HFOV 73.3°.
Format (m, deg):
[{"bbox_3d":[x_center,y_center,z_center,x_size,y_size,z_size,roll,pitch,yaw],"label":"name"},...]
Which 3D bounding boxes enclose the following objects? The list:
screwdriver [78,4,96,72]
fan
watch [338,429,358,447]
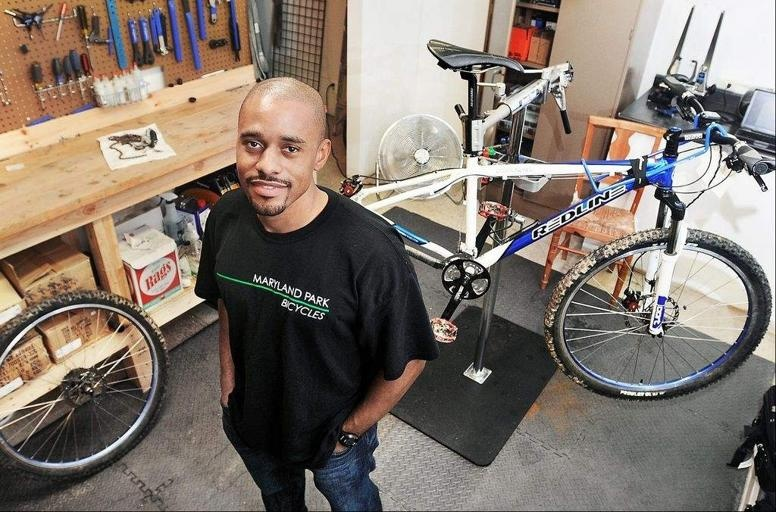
[{"bbox_3d":[-1.878,-1.363,3.259,0.059,0.378,0.056,-10,35,-22],"label":"screwdriver"},{"bbox_3d":[0.246,-0.864,4.218,0.752,0.767,0.226,12,22,9],"label":"fan"},{"bbox_3d":[-0.178,0.801,2.278,0.063,0.046,0.082,25,8,-19],"label":"watch"}]
